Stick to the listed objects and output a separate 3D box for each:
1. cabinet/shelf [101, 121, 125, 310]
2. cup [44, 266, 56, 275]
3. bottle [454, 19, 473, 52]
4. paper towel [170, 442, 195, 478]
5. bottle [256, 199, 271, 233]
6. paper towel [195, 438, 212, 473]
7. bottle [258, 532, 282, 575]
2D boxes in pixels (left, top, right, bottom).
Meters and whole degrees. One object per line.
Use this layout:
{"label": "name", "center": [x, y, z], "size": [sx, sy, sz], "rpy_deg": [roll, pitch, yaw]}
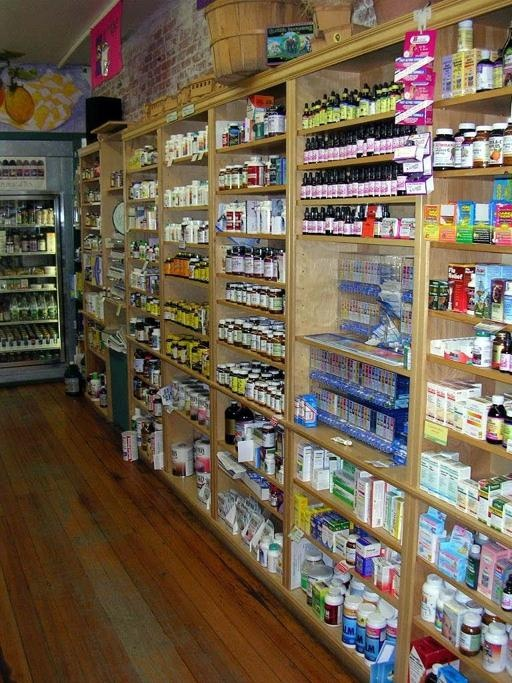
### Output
{"label": "cabinet/shelf", "center": [-1.594, -1.387, 5.997], "size": [0.264, 1.918, 0.872], "rpy_deg": [-2, 7, -16]}
{"label": "cup", "center": [-3.135, -1.067, 8.167], "size": [0.134, 0.100, 0.134], "rpy_deg": [1, -1, 0]}
{"label": "bottle", "center": [0.591, -0.859, 1.524], "size": [0.037, 0.087, 0.070], "rpy_deg": [3, 8, 23]}
{"label": "paper towel", "center": [-0.635, 0.972, 4.553], "size": [0.239, 0.266, 0.242], "rpy_deg": [-3, 17, -13]}
{"label": "bottle", "center": [0.038, -0.651, 2.857], "size": [0.042, 0.167, 0.201], "rpy_deg": [-2, 8, -11]}
{"label": "paper towel", "center": [-0.427, 0.906, 4.228], "size": [0.228, 0.249, 0.227], "rpy_deg": [1, -2, -9]}
{"label": "bottle", "center": [0.087, 1.230, 3.086], "size": [0.124, 0.192, 0.202], "rpy_deg": [0, -1, -6]}
